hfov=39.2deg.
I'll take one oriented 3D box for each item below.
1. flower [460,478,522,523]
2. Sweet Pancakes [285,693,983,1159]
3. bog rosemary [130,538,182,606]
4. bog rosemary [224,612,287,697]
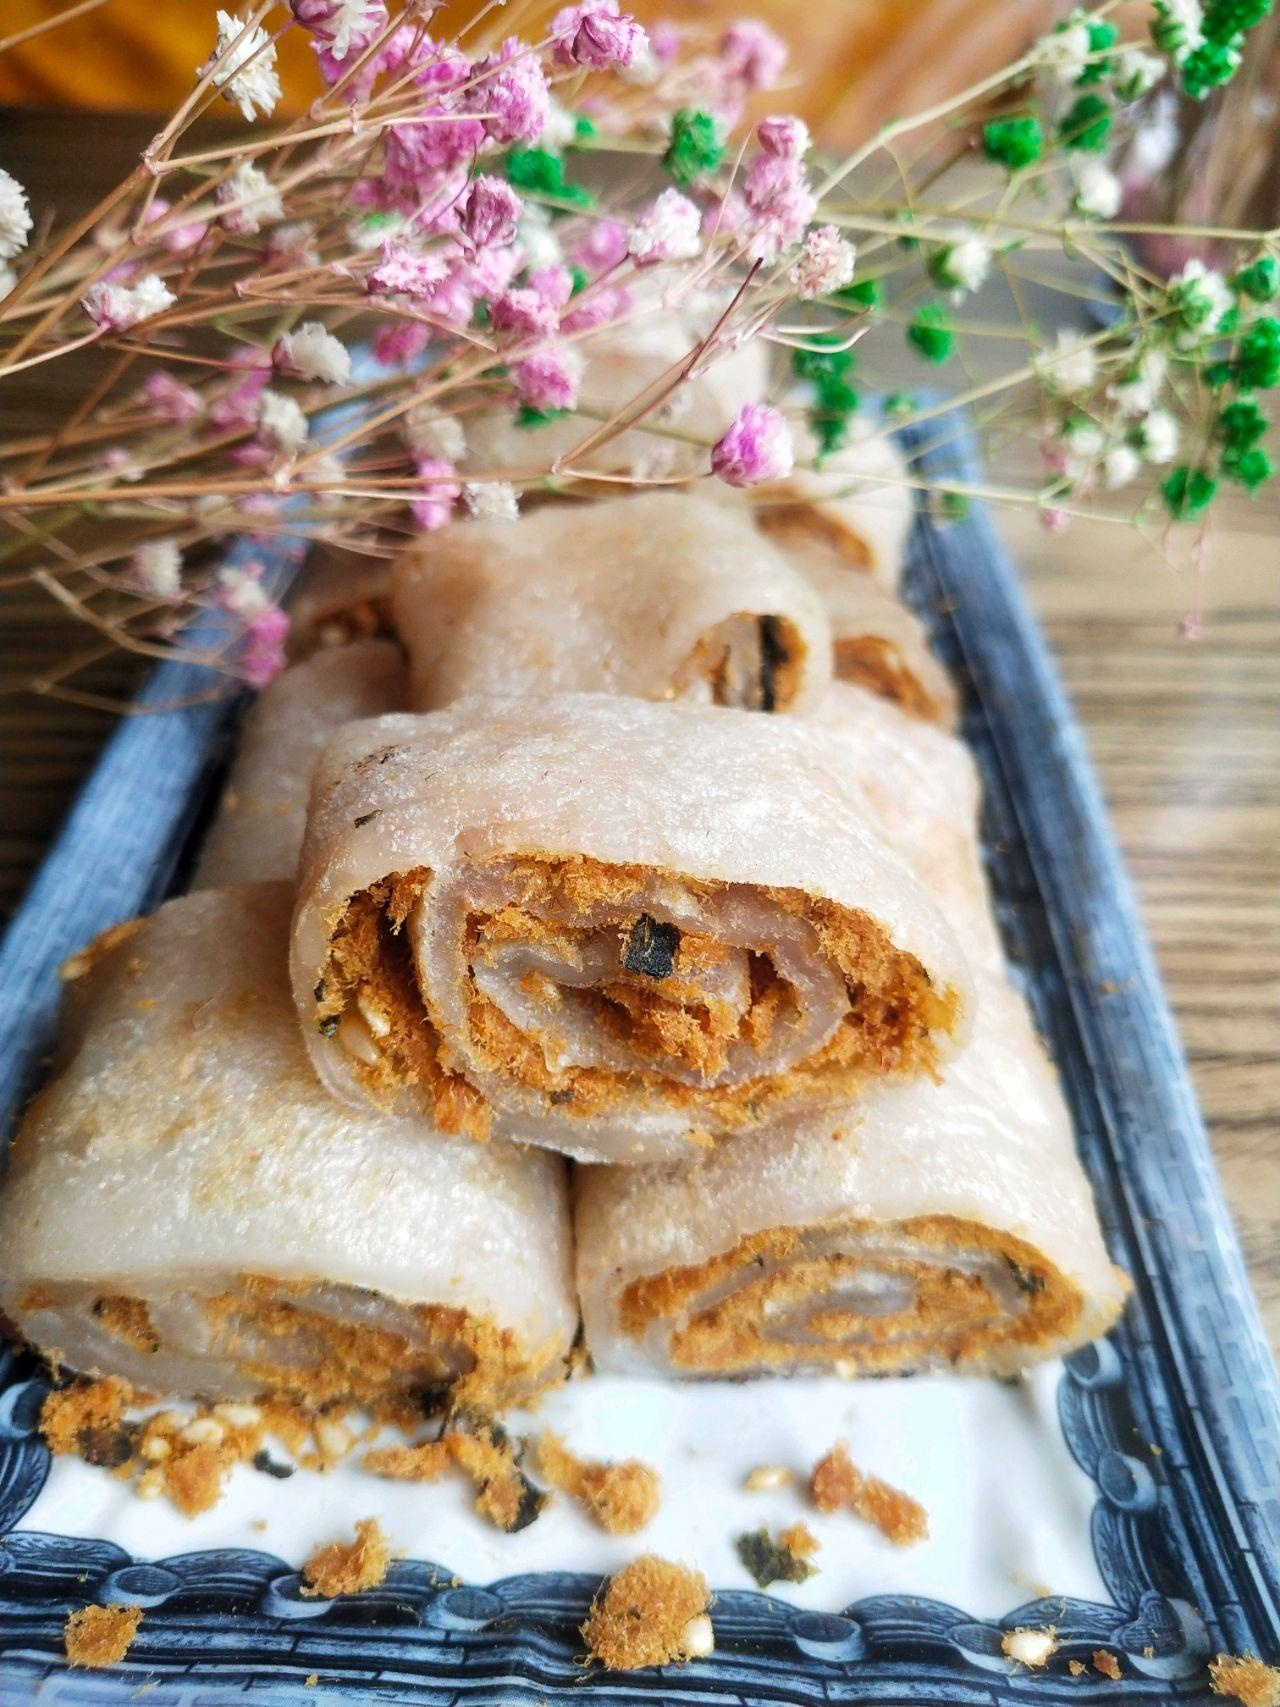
[{"bbox_3d":[-0.139,-0.323,1.624,0.058,0.017,0.037,4,80,-7],"label":"flower"},{"bbox_3d":[-0.007,0.044,1.652,0.581,0.357,0.370,-1,48,3],"label":"Sweet Pancakes"},{"bbox_3d":[-0.475,-0.282,1.786,0.065,0.033,0.069,2,47,0],"label":"bog rosemary"},{"bbox_3d":[-0.437,-0.231,2.077,0.068,0.090,0.023,3,39,-24],"label":"bog rosemary"}]
